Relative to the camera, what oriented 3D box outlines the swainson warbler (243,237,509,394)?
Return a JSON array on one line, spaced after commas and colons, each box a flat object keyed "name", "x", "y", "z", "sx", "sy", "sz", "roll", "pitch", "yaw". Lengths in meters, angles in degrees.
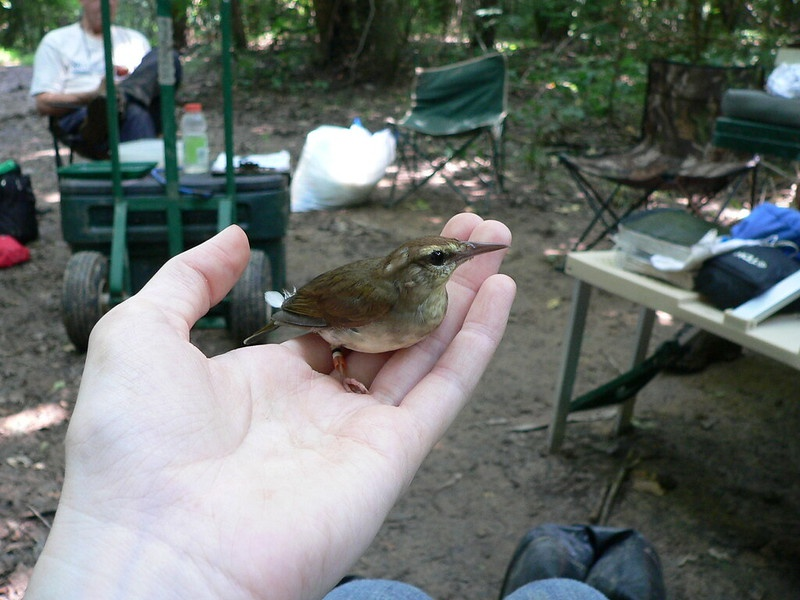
[{"name": "swainson warbler", "x": -0.207, "y": 0.024, "z": 4.939, "sx": 1.509, "sy": 0.998, "sz": 0.645, "roll": 11, "pitch": 22, "yaw": 14}]
